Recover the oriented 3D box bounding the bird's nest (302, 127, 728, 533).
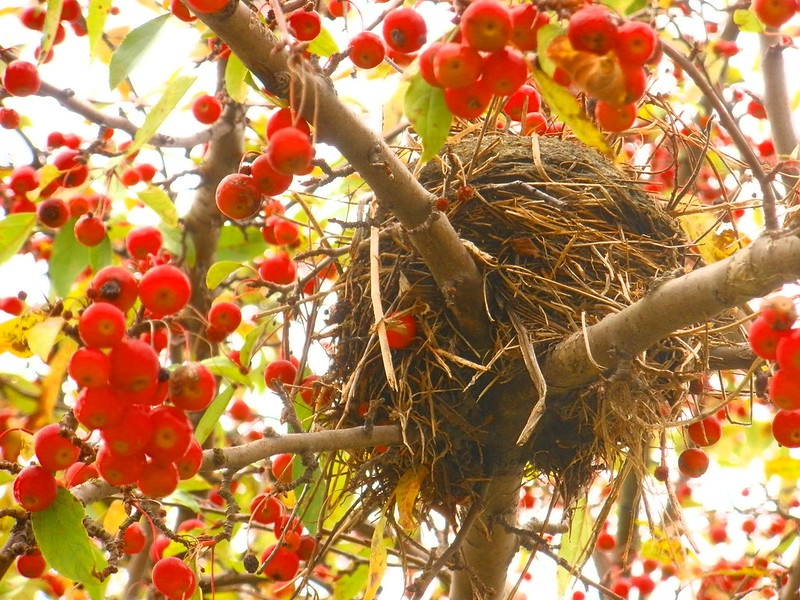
[{"bbox_3d":[0.444,0.154,3.496,1.376,1.120,1.139,-28,-51,15],"label":"bird's nest"}]
